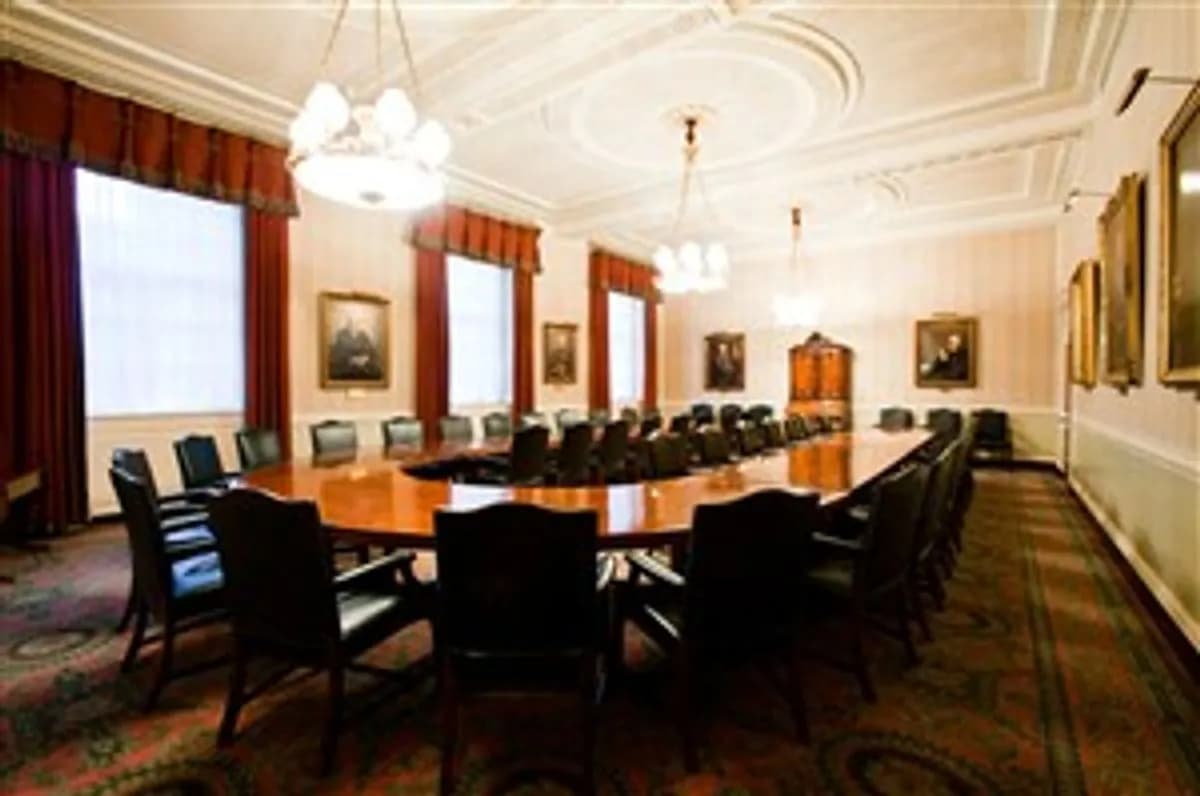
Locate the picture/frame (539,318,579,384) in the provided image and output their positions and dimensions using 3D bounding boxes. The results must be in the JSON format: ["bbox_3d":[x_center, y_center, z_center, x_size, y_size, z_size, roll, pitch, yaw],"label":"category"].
[{"bbox_3d":[-0.669,-0.737,12.357,0.113,1.135,0.970,-3,-4,34],"label":"picture/frame"}]

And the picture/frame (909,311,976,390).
[{"bbox_3d":[5.224,-0.726,12.225,0.846,1.220,0.095,1,39,24],"label":"picture/frame"}]

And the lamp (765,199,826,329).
[{"bbox_3d":[2.756,-1.901,11.347,0.608,1.456,0.612,-5,4,-39],"label":"lamp"}]
